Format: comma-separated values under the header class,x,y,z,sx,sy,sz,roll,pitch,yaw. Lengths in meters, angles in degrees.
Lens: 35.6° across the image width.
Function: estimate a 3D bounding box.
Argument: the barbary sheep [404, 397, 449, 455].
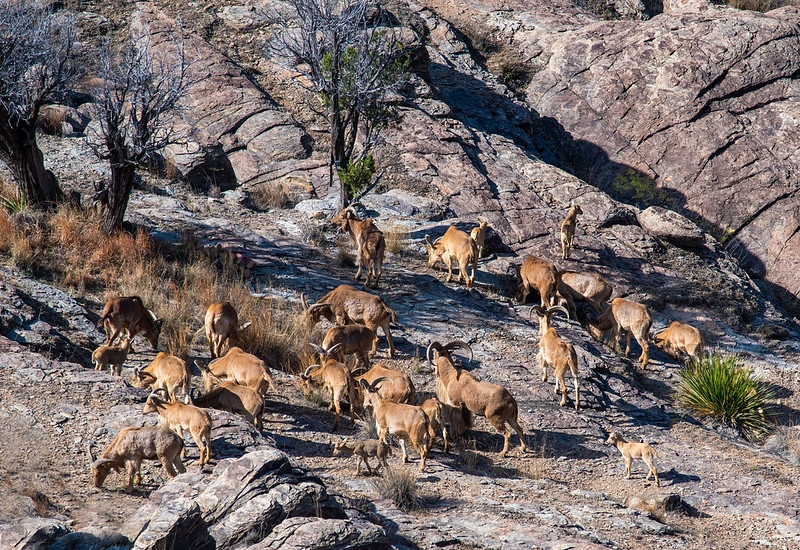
class,x,y,z,sx,sy,sz,roll,pitch,yaw
barbary sheep,0.938,4.393,36.549,0.836,1.614,1.910,13,16,34
